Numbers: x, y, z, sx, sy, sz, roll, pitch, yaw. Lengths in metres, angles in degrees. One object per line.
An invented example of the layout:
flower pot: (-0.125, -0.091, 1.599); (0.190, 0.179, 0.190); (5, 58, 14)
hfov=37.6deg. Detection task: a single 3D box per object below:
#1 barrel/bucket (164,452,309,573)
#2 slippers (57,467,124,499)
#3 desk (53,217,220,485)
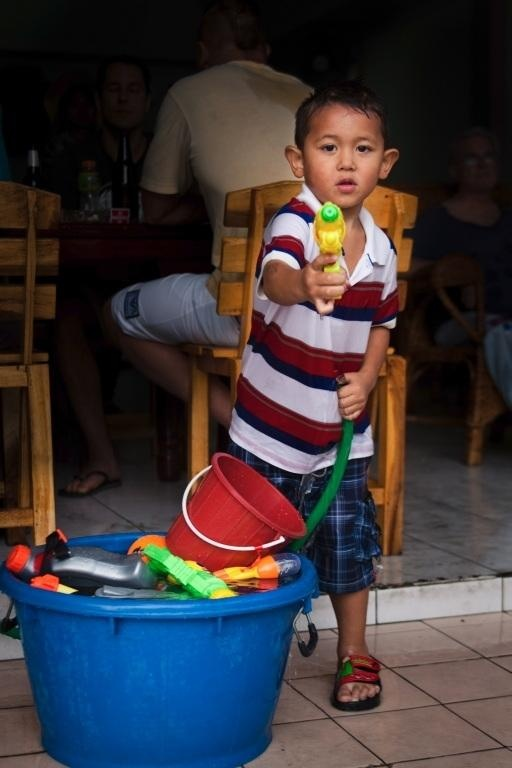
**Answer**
barrel/bucket: (-0.036, 0.175, 1.241); (0.154, 0.199, 0.198); (-42, -7, 9)
slippers: (-0.585, 0.337, 2.611); (0.075, 0.052, 0.191); (11, 13, 41)
desk: (-0.410, -0.118, 2.519); (0.705, 0.843, 0.959); (2, 7, -10)
